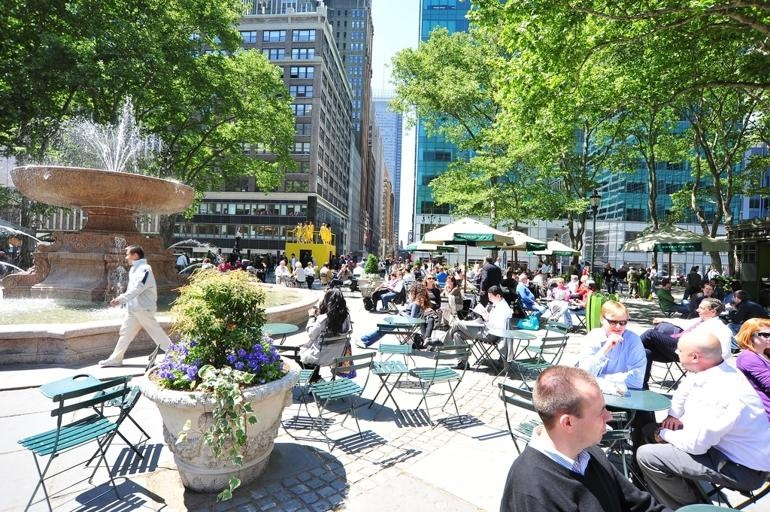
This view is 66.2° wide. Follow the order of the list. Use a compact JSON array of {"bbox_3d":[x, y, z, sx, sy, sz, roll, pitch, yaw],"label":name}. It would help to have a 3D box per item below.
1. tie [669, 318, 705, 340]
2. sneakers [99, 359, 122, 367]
[{"bbox_3d":[7.086,1.738,13.854,0.151,0.213,1.184,20,-38,-40],"label":"tie"},{"bbox_3d":[-6.647,2.623,14.304,0.520,0.218,0.188,9,-3,-14],"label":"sneakers"}]
